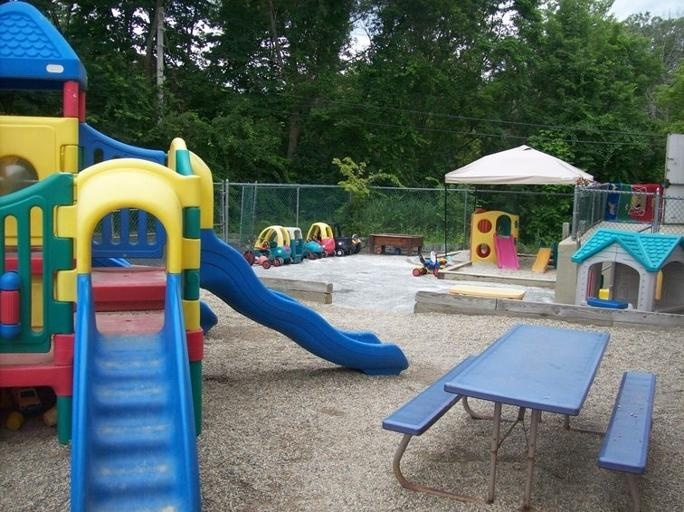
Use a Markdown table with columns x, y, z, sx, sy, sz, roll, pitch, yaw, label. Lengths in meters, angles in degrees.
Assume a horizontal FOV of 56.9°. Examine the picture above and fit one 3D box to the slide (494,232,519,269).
| x | y | z | sx | sy | sz | roll | pitch | yaw | label |
| --- | --- | --- | --- | --- | --- | --- | --- | --- | --- |
| 4.441 | -0.076 | 17.047 | 0.558 | 1.106 | 0.251 | -2 | 32 | 31 | slide |
